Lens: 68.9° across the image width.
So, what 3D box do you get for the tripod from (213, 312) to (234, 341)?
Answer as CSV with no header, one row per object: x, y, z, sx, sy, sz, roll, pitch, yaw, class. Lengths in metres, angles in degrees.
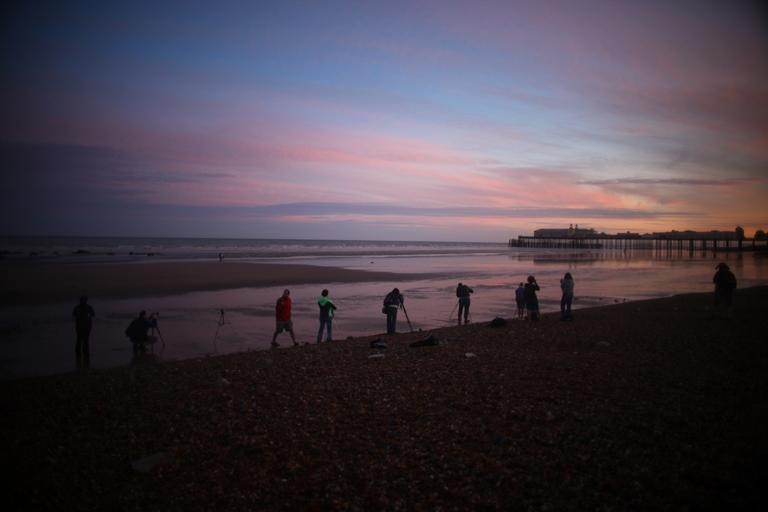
-6.825,3.123,23.843,1.001,1.369,1.114,-4,12,-16,tripod

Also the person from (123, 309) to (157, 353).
-8.994,2.801,20.628,1.027,1.502,1.214,12,17,15,person
